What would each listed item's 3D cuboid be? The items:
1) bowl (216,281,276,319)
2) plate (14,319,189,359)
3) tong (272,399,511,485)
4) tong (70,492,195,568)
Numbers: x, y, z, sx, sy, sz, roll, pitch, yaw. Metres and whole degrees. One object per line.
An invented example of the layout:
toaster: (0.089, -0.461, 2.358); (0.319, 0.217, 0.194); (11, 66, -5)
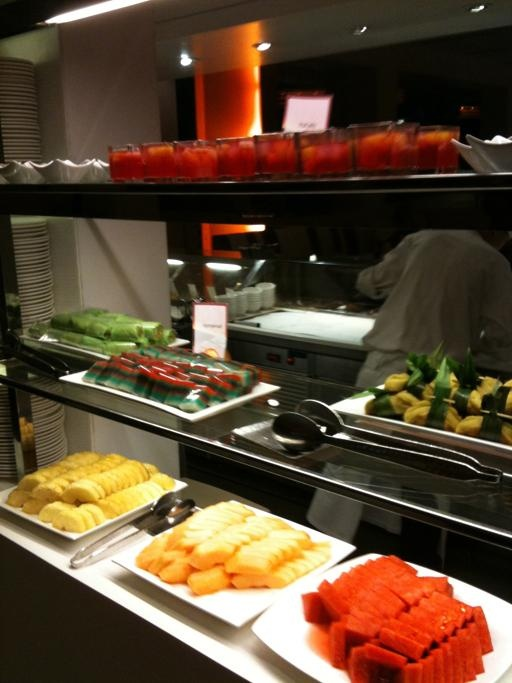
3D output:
bowl: (-0.023, -0.114, 1.480); (0.161, 0.061, 0.087); (-9, 21, -9)
plate: (-0.454, 0.002, 1.255); (0.271, 0.024, 0.165); (12, 21, 34)
tong: (0.143, 0.100, 0.695); (0.083, 0.072, 0.339); (-7, 8, -43)
tong: (-0.243, 0.391, 1.126); (0.082, 0.055, 0.280); (10, 20, 44)
